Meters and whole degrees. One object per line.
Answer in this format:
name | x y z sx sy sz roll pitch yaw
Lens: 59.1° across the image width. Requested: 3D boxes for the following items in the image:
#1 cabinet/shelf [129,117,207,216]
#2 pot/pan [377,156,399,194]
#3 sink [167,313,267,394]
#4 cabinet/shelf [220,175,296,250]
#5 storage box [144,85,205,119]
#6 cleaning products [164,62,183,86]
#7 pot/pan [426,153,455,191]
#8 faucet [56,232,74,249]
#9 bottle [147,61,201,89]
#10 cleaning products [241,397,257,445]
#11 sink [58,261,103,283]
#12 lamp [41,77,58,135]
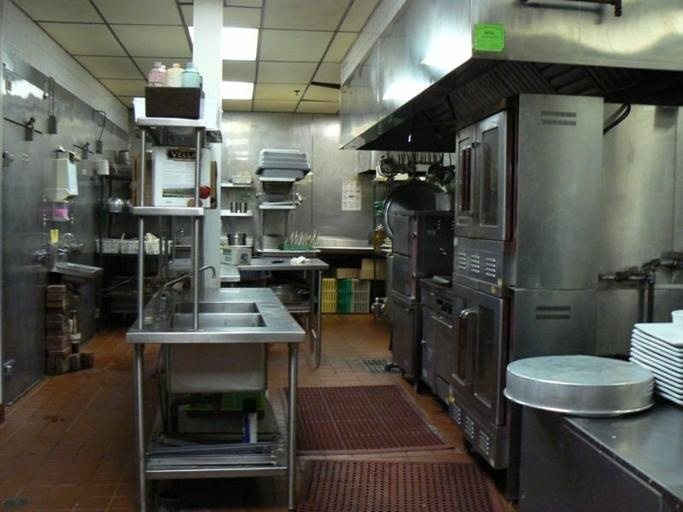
cabinet/shelf | -0.993 -0.496 3.445 0.397 0.574 0.467 -1 8 -25
pot/pan | 0.524 -0.907 6.772 0.285 0.410 0.161 2 6 -10
sink | -0.778 0.442 3.769 0.598 0.408 0.821 1 29 -9
cabinet/shelf | -1.149 -0.602 8.332 1.012 1.215 1.294 0 3 -10
storage box | -0.913 -0.832 3.256 0.201 0.108 0.206 0 4 -8
cleaning products | -0.937 -1.007 3.351 0.096 0.154 0.161 -2 5 -16
pot/pan | 1.055 -0.907 6.407 0.291 0.422 0.853 0 5 9
faucet | -2.832 -0.157 6.117 0.097 0.134 0.116 10 31 -18
bottle | -0.945 -1.006 3.427 0.208 0.108 0.208 1 10 0
cleaning products | -0.558 0.985 3.657 0.087 0.228 0.240 -2 5 -9
sink | -2.600 0.148 5.941 0.414 0.192 0.466 -2 5 -8
lamp | -2.753 -1.410 5.672 0.096 0.549 0.283 -3 5 -23
